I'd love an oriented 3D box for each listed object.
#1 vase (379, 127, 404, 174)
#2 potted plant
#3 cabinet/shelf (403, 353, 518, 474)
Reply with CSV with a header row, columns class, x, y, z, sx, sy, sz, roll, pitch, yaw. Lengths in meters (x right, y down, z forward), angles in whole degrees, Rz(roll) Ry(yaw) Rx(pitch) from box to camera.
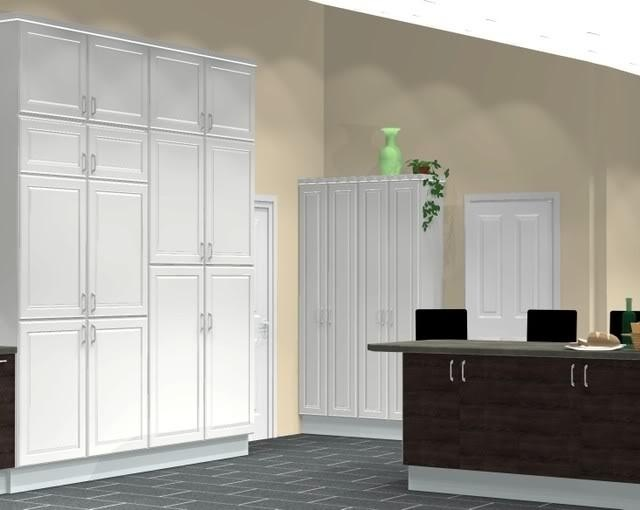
class,x,y,z,sx,sy,sz,roll,pitch,yaw
vase,0.809,-1.172,7.279,0.245,0.580,0.345,1,-1,7
potted plant,1.234,-0.697,7.261,0.462,0.881,0.657,1,-1,11
cabinet/shelf,1.042,1.237,5.164,0.774,1.295,0.769,-2,-5,29
